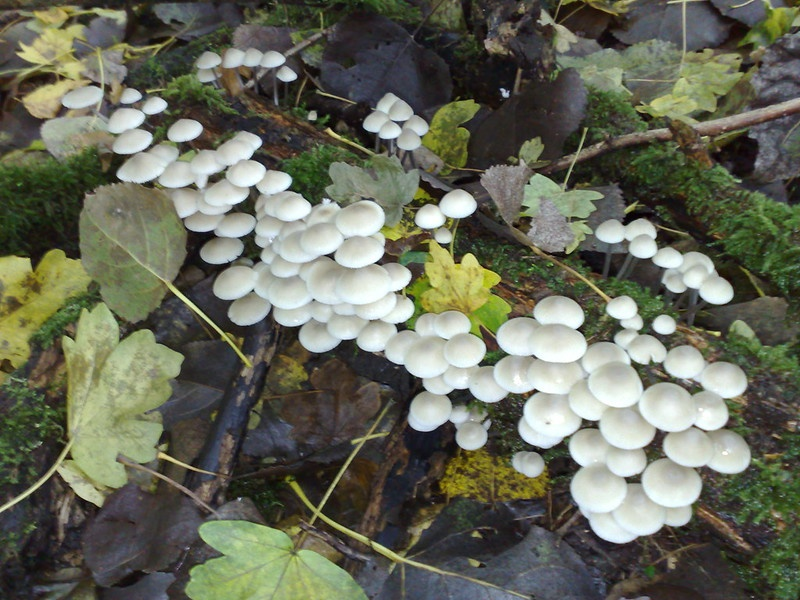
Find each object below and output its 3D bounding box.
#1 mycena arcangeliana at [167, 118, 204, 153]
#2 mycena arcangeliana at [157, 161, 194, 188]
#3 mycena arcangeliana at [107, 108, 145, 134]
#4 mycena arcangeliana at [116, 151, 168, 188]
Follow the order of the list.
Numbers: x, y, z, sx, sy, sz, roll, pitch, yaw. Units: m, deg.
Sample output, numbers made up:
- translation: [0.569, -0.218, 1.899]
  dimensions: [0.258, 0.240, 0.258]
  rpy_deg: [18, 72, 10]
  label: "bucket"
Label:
- translation: [-1.695, -1.322, 5.623]
  dimensions: [0.313, 0.107, 0.222]
  rpy_deg: [14, 53, 5]
  label: "mycena arcangeliana"
- translation: [-1.697, -0.976, 5.345]
  dimensions: [0.295, 0.093, 0.201]
  rpy_deg: [3, 47, 6]
  label: "mycena arcangeliana"
- translation: [-2.151, -1.426, 5.615]
  dimensions: [0.314, 0.103, 0.229]
  rpy_deg: [10, 47, 16]
  label: "mycena arcangeliana"
- translation: [-1.957, -1.003, 5.340]
  dimensions: [0.376, 0.116, 0.348]
  rpy_deg: [-29, 49, -29]
  label: "mycena arcangeliana"
